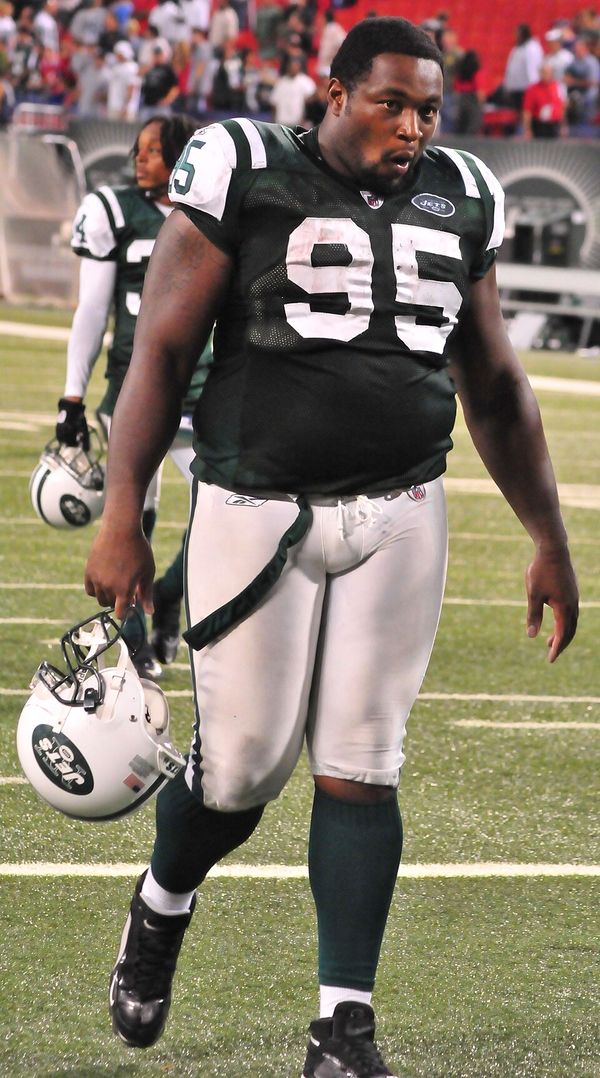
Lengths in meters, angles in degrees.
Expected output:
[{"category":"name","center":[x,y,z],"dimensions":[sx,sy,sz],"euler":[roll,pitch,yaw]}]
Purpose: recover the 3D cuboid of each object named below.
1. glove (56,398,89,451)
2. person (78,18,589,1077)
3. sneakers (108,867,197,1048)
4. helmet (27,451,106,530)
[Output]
[{"category":"glove","center":[-0.719,-0.369,3.489],"dimensions":[0.112,0.158,0.060],"euler":[2,12,24]},{"category":"person","center":[-0.027,0.054,1.568],"dimensions":[0.496,1.544,0.400],"euler":[5,6,20]},{"category":"sneakers","center":[-0.224,0.639,1.712],"dimensions":[0.094,0.293,0.133],"euler":[13,-24,-16]},{"category":"helmet","center":[-0.748,-0.159,3.556],"dimensions":[0.285,0.266,0.225],"euler":[0,10,-15]}]
